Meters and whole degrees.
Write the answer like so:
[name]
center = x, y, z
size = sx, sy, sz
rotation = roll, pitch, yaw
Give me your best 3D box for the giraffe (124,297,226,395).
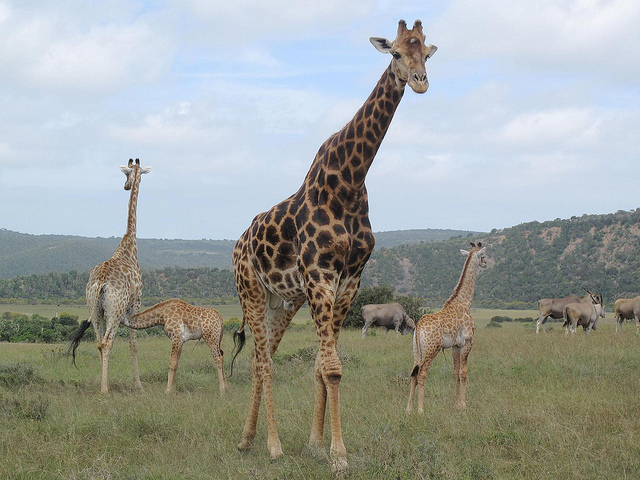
[giraffe]
center = -3.967, 2.957, 25.248
size = 2.718, 2.570, 1.606
rotation = 3, -1, -5
